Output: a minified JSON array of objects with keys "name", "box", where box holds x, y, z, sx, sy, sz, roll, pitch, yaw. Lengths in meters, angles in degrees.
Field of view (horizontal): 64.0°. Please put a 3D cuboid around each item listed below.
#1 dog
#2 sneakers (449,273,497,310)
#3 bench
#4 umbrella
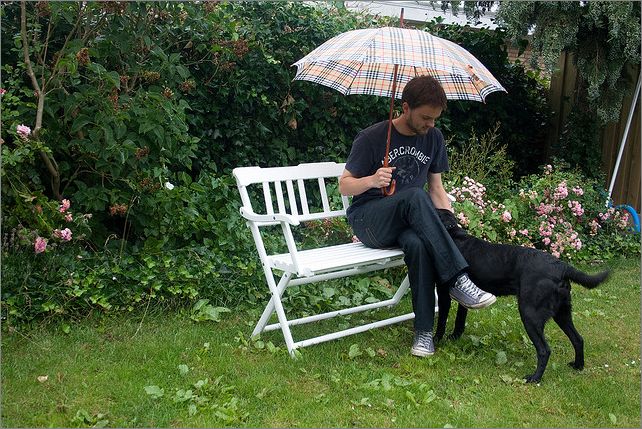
[{"name":"dog","box":[1.378,0.558,3.998,0.531,1.080,1.778,2,4,-34]},{"name":"sneakers","box":[1.102,0.573,3.813,0.153,0.197,0.385,-17,13,-28]},{"name":"bench","box":[0.205,0.303,4.420,1.752,1.358,1.084,-5,12,-39]},{"name":"umbrella","box":[0.615,-0.913,4.242,1.322,1.180,1.410,-1,3,35]}]
